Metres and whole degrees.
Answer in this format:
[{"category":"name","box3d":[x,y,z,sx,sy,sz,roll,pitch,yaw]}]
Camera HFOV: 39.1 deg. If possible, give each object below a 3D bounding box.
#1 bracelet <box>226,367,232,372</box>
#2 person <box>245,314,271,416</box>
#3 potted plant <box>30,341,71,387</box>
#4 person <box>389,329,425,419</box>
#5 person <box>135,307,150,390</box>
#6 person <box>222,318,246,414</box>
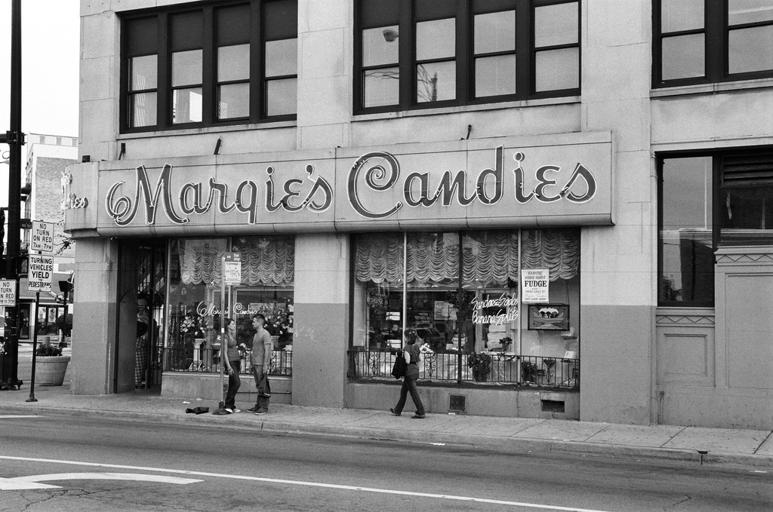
[{"category":"bracelet","box3d":[-4.219,2.990,28.987,0.117,0.144,0.300,4,-8,-28]},{"category":"person","box3d":[-3.383,2.824,28.988,0.532,2.584,0.744,1,-7,-8]},{"category":"potted plant","box3d":[-11.012,3.470,35.232,0.900,1.126,1.039,-10,-2,40]},{"category":"person","box3d":[0.558,3.063,28.390,0.833,2.239,0.992,3,-7,-18]},{"category":"person","box3d":[-7.591,2.794,33.588,0.380,2.468,0.747,2,-7,-13]},{"category":"person","box3d":[-4.231,2.931,29.398,0.473,2.474,1.419,2,-7,-9]}]
